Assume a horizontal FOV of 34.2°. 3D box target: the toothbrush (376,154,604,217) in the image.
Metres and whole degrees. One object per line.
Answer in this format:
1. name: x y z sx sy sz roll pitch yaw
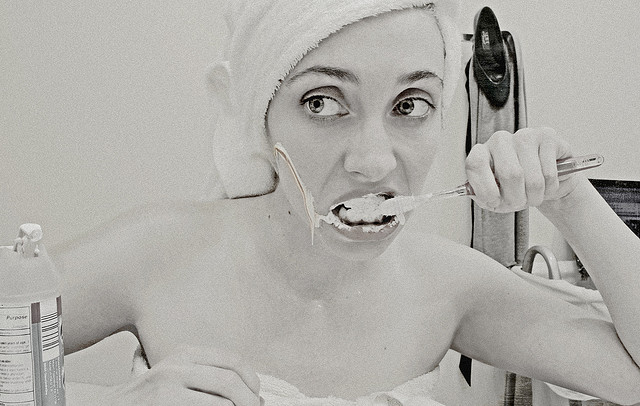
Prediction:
1. toothbrush: 0.382 -0.031 2.541 0.081 0.099 0.736 -23 8 -41
